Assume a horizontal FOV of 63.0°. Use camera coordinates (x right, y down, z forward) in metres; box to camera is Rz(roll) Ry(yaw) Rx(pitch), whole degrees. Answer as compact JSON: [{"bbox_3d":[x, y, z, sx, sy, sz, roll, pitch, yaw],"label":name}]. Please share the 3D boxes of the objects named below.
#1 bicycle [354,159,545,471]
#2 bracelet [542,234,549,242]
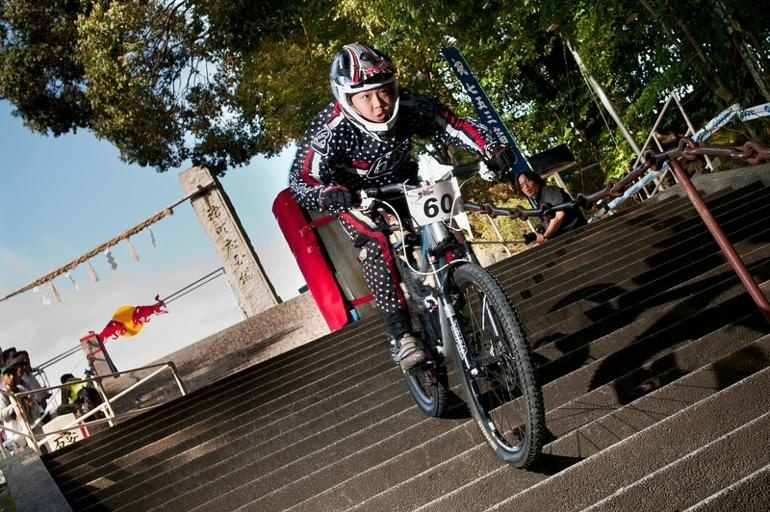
[{"bbox_3d":[0.513,0.444,4.982,0.814,2.454,1.462,-27,4,-22],"label":"bicycle"},{"bbox_3d":[2.243,-0.250,8.779,0.033,0.117,0.117,2,5,-14],"label":"bracelet"}]
